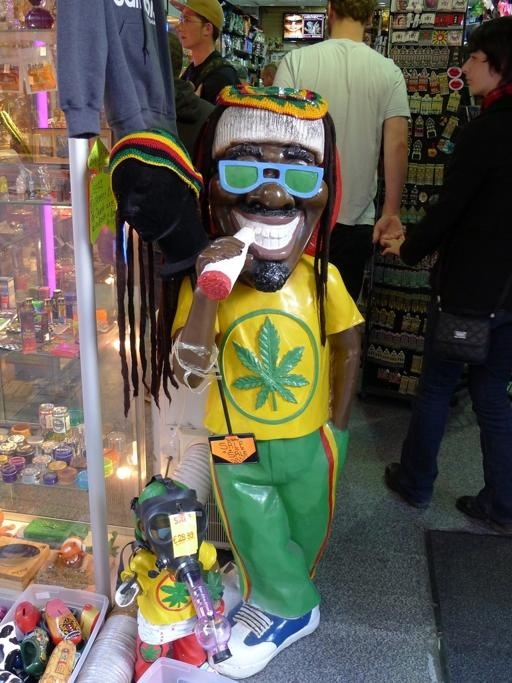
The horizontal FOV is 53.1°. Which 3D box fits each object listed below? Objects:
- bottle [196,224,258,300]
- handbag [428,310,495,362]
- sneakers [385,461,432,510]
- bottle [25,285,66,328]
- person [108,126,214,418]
[{"bbox_3d":[-0.052,-0.145,0.920,0.070,0.071,0.259,-21,17,26],"label":"bottle"},{"bbox_3d":[0.695,-0.018,1.708,0.141,0.196,0.089,8,14,27],"label":"handbag"},{"bbox_3d":[0.644,0.592,2.190,0.082,0.095,0.224,-20,33,-11],"label":"sneakers"},{"bbox_3d":[-0.603,-0.104,1.495,0.098,0.128,0.109,-10,16,-37],"label":"bottle"},{"bbox_3d":[-0.233,-0.092,1.226,0.216,0.812,0.554,-7,31,-15],"label":"person"}]
